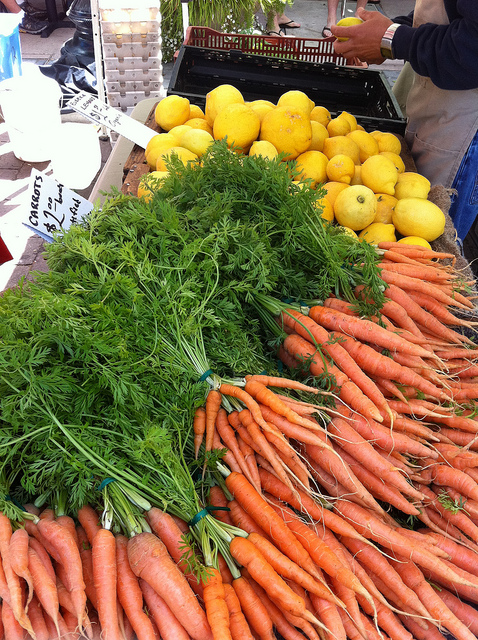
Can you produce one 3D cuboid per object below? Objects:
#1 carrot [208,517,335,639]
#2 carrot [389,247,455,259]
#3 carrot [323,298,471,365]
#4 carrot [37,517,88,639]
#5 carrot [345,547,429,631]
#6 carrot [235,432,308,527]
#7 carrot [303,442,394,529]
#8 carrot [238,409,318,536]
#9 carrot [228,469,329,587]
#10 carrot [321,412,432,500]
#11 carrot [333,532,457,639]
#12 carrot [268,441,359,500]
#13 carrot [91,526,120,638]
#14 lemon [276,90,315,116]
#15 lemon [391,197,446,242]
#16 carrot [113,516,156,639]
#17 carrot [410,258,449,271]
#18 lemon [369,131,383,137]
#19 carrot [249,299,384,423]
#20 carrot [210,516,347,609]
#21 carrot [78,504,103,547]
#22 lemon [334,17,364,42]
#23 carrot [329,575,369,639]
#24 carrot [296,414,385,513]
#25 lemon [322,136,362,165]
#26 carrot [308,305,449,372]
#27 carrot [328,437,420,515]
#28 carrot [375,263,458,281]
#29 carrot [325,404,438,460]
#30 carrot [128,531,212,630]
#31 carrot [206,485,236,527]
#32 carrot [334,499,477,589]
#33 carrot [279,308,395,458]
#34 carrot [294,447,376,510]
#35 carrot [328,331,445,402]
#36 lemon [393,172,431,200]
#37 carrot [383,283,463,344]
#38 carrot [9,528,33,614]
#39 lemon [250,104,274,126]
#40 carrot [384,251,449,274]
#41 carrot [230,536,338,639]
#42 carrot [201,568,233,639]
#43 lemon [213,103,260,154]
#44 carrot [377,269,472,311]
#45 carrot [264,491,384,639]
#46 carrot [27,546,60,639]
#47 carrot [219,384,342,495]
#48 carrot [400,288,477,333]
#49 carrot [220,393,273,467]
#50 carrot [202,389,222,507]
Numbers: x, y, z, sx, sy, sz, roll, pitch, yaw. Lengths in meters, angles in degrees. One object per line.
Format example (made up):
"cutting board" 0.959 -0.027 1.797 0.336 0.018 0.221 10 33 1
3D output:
"carrot" 0.081 0.694 1.277 0.455 0.066 0.065 41 98 25
"carrot" 0.777 -0.286 2.076 0.259 0.038 0.039 8 56 6
"carrot" 0.560 0.046 1.765 0.416 0.061 0.059 26 59 0
"carrot" -0.441 0.648 1.196 0.048 0.055 0.265 -30 70 18
"carrot" 0.409 0.745 1.329 0.038 0.047 0.318 -42 73 -17
"carrot" 0.088 0.474 1.474 0.077 0.033 0.267 27 22 -51
"carrot" 0.333 0.503 1.464 0.055 0.064 0.327 -47 64 -2
"carrot" 0.118 0.465 1.463 0.050 0.051 0.429 -29 59 -11
"carrot" 0.107 0.599 1.371 0.059 0.060 0.420 11 28 -44
"carrot" 0.417 0.428 1.501 0.055 0.056 0.373 -48 69 10
"carrot" 0.428 0.739 1.329 0.054 0.056 0.403 -43 54 -3
"carrot" 0.226 0.473 1.477 0.289 0.103 0.029 32 61 -18
"carrot" -0.335 0.630 1.185 0.059 0.056 0.288 -7 39 -15
"lemon" 0.330 -1.208 2.757 0.197 0.150 0.154 -1 6 6
"lemon" 0.847 -0.485 2.308 0.261 0.192 0.199 13 93 2
"carrot" -0.282 0.679 1.226 0.057 0.061 0.381 0 60 -30
"carrot" 0.790 -0.233 2.025 0.123 0.017 0.018 27 17 6
"lemon" 0.817 -1.092 2.864 0.069 0.039 0.054 2 18 15
"carrot" 0.270 0.146 1.641 0.512 0.064 0.069 45 36 14
"carrot" 0.102 0.662 1.305 0.317 0.044 0.044 39 80 12
"carrot" -0.410 0.549 1.325 0.043 0.045 0.127 26 24 -47
"lemon" 0.701 -1.860 3.115 0.147 0.148 0.344 10 44 9
"carrot" 0.296 0.757 1.291 0.034 0.035 0.195 -26 65 -13
"carrot" 0.315 0.444 1.486 0.065 0.069 0.333 -36 81 -22
"lemon" 0.519 -0.879 2.559 0.190 0.148 0.144 21 13 -2
"carrot" 0.488 0.057 1.723 0.527 0.086 0.086 22 61 19
"carrot" 0.405 0.476 1.477 0.048 0.045 0.331 -43 70 -12
"carrot" 0.699 -0.191 1.937 0.268 0.040 0.043 9 58 0
"carrot" 0.506 0.386 1.541 0.387 0.084 0.089 4 31 0
"carrot" -0.165 0.641 1.259 0.117 0.111 0.298 -29 64 -19
"carrot" -0.055 0.556 1.485 0.043 0.042 0.135 -20 44 -18
"carrot" 0.476 0.650 1.390 0.403 0.066 0.058 28 50 15
"carrot" 0.325 0.222 1.599 0.087 0.086 0.582 -33 65 -17
"carrot" 0.298 0.485 1.474 0.043 0.037 0.281 -39 58 -9
"carrot" 0.492 0.165 1.659 0.366 0.066 0.066 31 7 5
"lemon" 0.851 -0.660 2.397 0.132 0.120 0.149 -25 40 -19
"carrot" 0.697 -0.022 1.862 0.292 0.058 0.059 36 46 -2
"carrot" -0.527 0.567 1.173 0.056 0.050 0.240 15 36 -33
"lemon" 0.124 -1.138 2.661 0.147 0.177 0.147 1 23 3
"carrot" 0.724 -0.239 2.005 0.227 0.038 0.039 18 54 16
"carrot" 0.111 0.717 1.276 0.352 0.062 0.063 41 42 15
"carrot" -0.056 0.686 1.161 0.044 0.048 0.174 -20 30 0
"lemon" -0.006 -0.987 2.527 0.236 0.229 0.285 2 85 -23
"carrot" 0.716 -0.117 1.908 0.351 0.050 0.060 20 71 1
"carrot" 0.234 0.689 1.331 0.563 0.072 0.072 44 19 30
"carrot" -0.478 0.671 1.177 0.038 0.039 0.232 1 53 -58
"carrot" 0.123 0.383 1.508 0.483 0.053 0.068 38 34 10
"carrot" 0.783 -0.038 1.917 0.288 0.043 0.047 29 49 10
"carrot" 0.028 0.350 1.520 0.041 0.041 0.272 -22 73 -52
"carrot" -0.073 0.372 1.522 0.042 0.039 0.256 0 74 26
